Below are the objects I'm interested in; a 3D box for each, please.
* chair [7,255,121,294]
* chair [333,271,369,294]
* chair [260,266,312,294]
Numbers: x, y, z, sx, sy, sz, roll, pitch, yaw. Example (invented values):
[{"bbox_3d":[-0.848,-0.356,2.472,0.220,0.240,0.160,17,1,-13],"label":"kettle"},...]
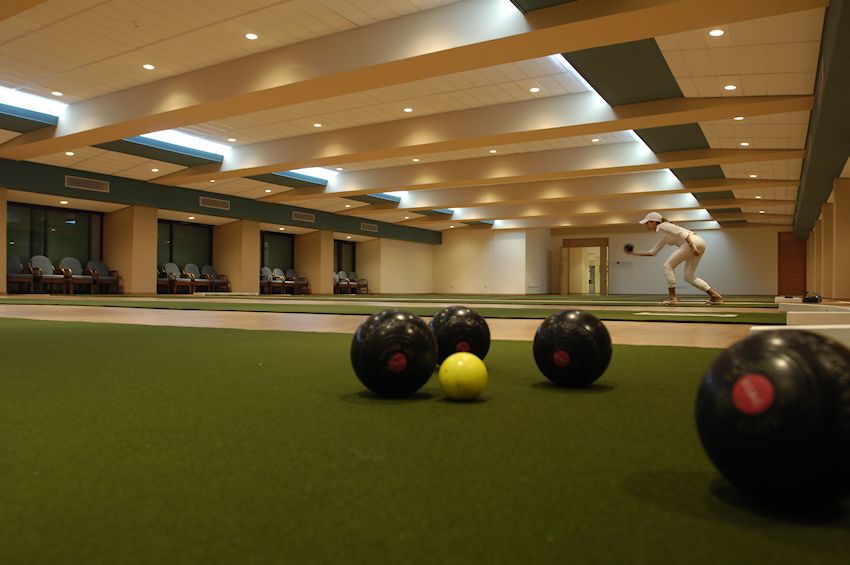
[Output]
[{"bbox_3d":[-11.431,-0.266,15.658,1.551,1.098,2.635,2,3,32],"label":"chair"},{"bbox_3d":[-3.568,0.011,24.518,0.990,0.965,2.482,0,1,16],"label":"chair"},{"bbox_3d":[-6.007,-0.066,21.780,1.211,1.061,2.495,0,1,22],"label":"chair"}]
